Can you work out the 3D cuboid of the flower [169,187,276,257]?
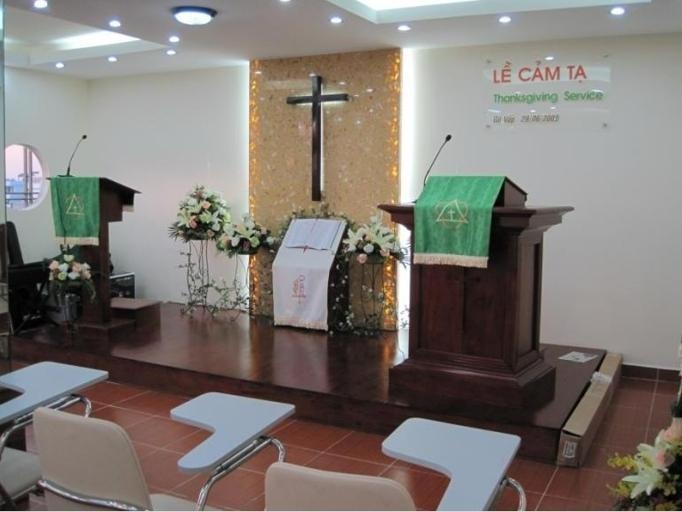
[{"bbox_3d":[-1.375,-0.330,6.612,0.989,0.569,0.896,20,6,32],"label":"flower"}]

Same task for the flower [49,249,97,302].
[{"bbox_3d":[-2.608,0.175,5.339,0.412,0.267,0.434,-10,13,-44],"label":"flower"}]

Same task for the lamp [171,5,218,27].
[{"bbox_3d":[-1.333,-2.209,5.057,0.399,0.129,0.294,6,-3,-22],"label":"lamp"}]
